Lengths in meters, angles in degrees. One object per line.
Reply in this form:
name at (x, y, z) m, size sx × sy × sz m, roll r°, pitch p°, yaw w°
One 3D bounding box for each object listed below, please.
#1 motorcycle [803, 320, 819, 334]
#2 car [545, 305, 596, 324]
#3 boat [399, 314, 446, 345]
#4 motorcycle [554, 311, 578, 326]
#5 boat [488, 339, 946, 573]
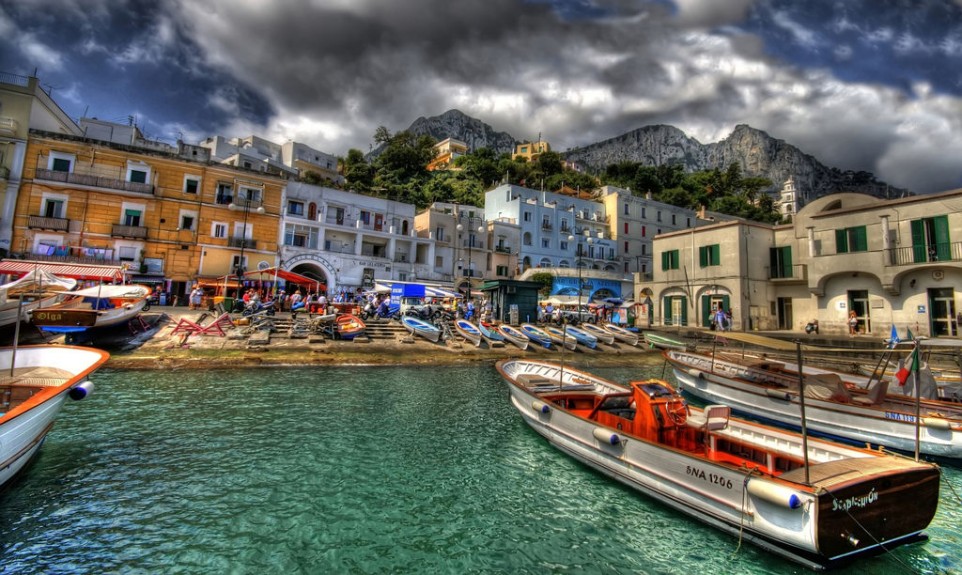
motorcycle at (24.821, 2.926, 40.573) m, size 0.824 × 0.531 × 1.151 m, roll 4°, pitch 15°, yaw 43°
car at (8.400, 2.404, 49.766) m, size 4.205 × 1.553 × 2.447 m, roll 0°, pitch -2°, yaw 0°
boat at (-4.089, 2.993, 38.458) m, size 2.913 × 1.729 × 1.664 m, roll 2°, pitch -4°, yaw -2°
motorcycle at (7.797, 2.674, 47.797) m, size 2.059 × 1.265 × 2.870 m, roll 0°, pitch -10°, yaw 3°
boat at (8.878, 6.570, 20.260) m, size 13.003 × 5.824 × 3.758 m, roll -1°, pitch -5°, yaw 31°
